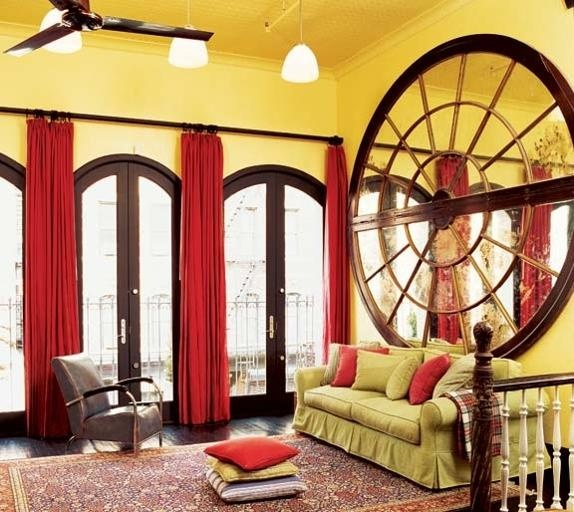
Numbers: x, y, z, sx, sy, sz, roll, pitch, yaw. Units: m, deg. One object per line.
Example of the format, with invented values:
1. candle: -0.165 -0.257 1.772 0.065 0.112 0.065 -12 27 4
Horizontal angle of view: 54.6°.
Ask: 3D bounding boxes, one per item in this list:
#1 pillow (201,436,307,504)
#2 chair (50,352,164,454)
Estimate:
1. pillow: -0.228 1.545 4.094 0.439 0.265 0.463 1 0 -23
2. chair: -1.678 1.339 5.173 0.807 0.908 0.650 -1 -5 9
